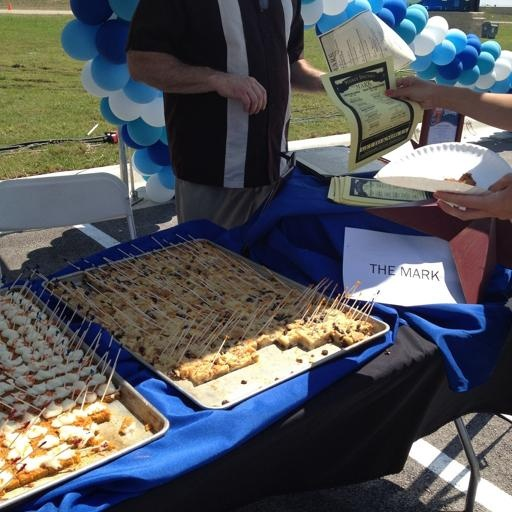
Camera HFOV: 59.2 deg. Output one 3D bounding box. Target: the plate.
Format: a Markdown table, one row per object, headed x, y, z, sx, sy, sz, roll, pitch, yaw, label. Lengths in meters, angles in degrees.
| x | y | z | sx | sy | sz | roll | pitch | yaw | label |
| --- | --- | --- | --- | --- | --- | --- | --- | --- | --- |
| 0.631 | -0.303 | 1.472 | 0.297 | 0.048 | 0.248 | 11 | 50 | 36 | plate |
